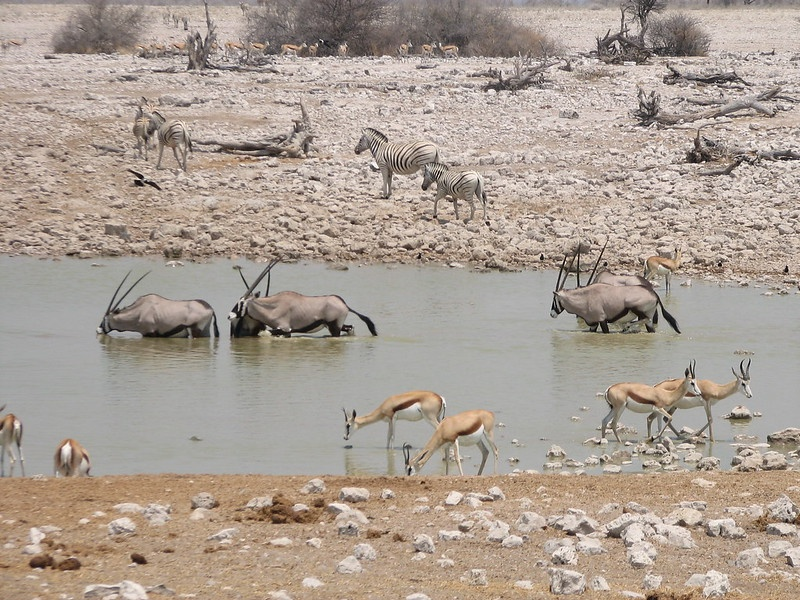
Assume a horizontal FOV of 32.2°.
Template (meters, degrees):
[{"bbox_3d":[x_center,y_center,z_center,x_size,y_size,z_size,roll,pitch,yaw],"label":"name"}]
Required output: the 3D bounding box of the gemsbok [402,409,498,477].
[{"bbox_3d":[0.777,1.771,17.208,1.506,0.854,0.642,-9,15,-38],"label":"gemsbok"}]

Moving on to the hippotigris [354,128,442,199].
[{"bbox_3d":[-0.044,-2.857,29.637,2.171,1.434,0.598,8,14,28],"label":"hippotigris"}]

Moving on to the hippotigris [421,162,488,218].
[{"bbox_3d":[1.101,-2.196,28.279,1.686,1.132,0.475,7,11,41],"label":"hippotigris"}]
